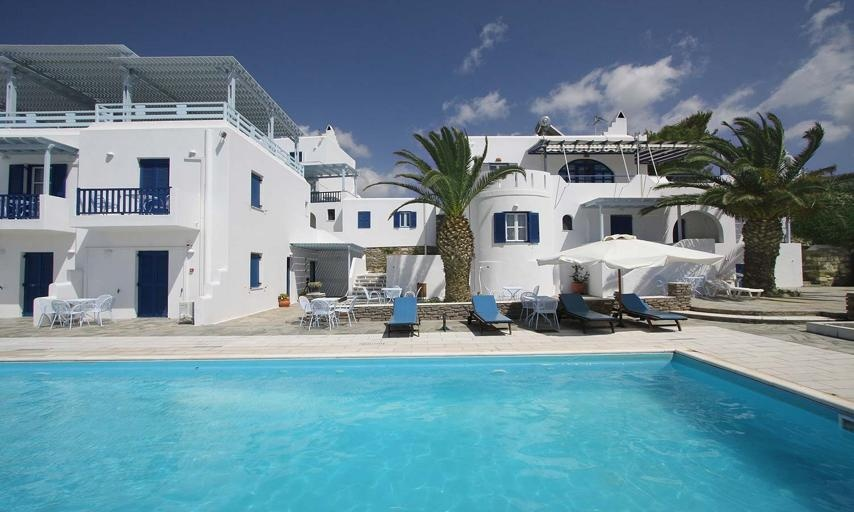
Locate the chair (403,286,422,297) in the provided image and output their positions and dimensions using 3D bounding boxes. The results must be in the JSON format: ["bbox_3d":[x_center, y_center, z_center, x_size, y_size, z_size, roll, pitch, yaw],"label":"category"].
[{"bbox_3d":[-0.824,2.397,36.812,1.366,0.918,0.707,-1,-10,1],"label":"chair"}]

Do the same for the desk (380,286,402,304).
[{"bbox_3d":[-2.315,2.465,34.568,1.124,1.290,1.114,0,-9,-5],"label":"desk"}]

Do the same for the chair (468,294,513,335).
[{"bbox_3d":[3.389,3.151,29.778,2.518,2.007,1.986,-1,-5,14],"label":"chair"}]

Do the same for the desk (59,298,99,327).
[{"bbox_3d":[-20.200,3.166,30.990,2.010,2.117,1.715,-2,-8,16],"label":"desk"}]

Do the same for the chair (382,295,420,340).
[{"bbox_3d":[-1.385,3.255,29.464,1.913,2.078,1.627,0,-5,-3],"label":"chair"}]

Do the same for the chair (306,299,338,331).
[{"bbox_3d":[-5.822,3.215,30.584,1.744,2.202,1.700,1,5,6],"label":"chair"}]

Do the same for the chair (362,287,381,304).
[{"bbox_3d":[-3.714,2.577,35.678,1.391,1.148,0.988,-2,-1,8],"label":"chair"}]

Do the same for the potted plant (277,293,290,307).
[{"bbox_3d":[-9.606,2.969,36.368,0.767,0.697,0.776,-9,-7,35],"label":"potted plant"}]

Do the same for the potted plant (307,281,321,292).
[{"bbox_3d":[-8.073,2.166,38.562,0.897,0.611,0.795,0,-3,-7],"label":"potted plant"}]

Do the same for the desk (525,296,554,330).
[{"bbox_3d":[6.580,3.166,30.698,2.167,1.862,1.608,-1,-5,7],"label":"desk"}]

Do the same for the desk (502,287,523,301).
[{"bbox_3d":[5.240,2.309,33.651,1.401,0.904,0.859,0,-8,4],"label":"desk"}]

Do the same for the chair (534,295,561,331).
[{"bbox_3d":[6.723,3.214,30.662,1.855,2.146,1.659,0,-8,1],"label":"chair"}]

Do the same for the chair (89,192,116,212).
[{"bbox_3d":[-19.044,-3.150,31.738,1.527,1.346,1.425,0,5,-16],"label":"chair"}]

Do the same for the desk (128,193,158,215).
[{"bbox_3d":[-16.456,-3.146,31.236,2.188,1.547,0.715,-1,-5,18],"label":"desk"}]
